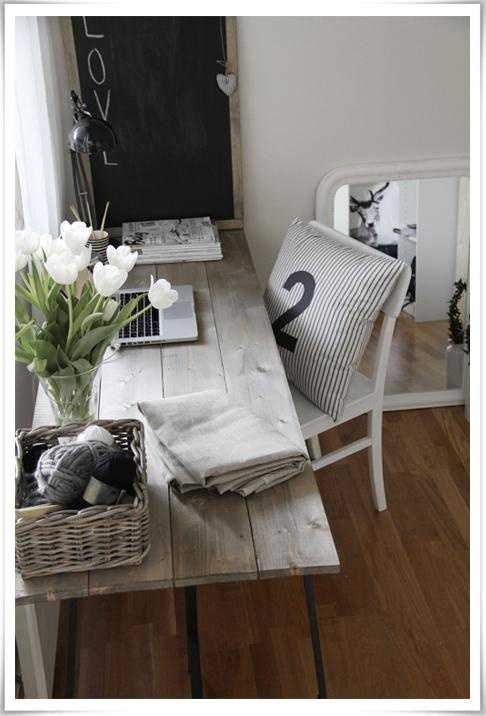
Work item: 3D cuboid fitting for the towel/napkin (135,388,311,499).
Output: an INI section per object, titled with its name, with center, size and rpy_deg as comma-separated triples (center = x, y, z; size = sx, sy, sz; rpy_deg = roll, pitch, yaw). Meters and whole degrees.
[towel/napkin]
center = -0.053, 0.126, 0.812
size = 0.156, 0.061, 0.191
rpy_deg = -8, 28, -23

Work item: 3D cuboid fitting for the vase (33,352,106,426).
[vase]
center = -0.252, 0.060, 0.782
size = 0.105, 0.129, 0.099
rpy_deg = -4, 35, -7
